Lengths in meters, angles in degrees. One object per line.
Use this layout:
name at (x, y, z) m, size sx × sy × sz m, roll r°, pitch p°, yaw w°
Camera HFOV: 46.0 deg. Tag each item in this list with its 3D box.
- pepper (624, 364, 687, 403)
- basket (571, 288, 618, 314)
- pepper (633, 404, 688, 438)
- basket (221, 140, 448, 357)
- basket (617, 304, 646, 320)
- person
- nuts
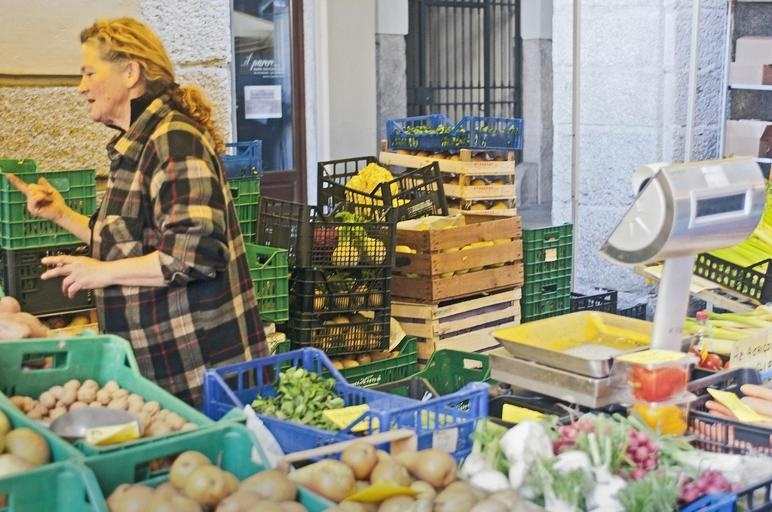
pepper at (1.144, 0.527, 3.812) m, size 0.246 × 0.154 × 0.075 m, roll -2°, pitch 9°, yaw 5°
basket at (1.581, 0.351, 6.867) m, size 0.293 × 0.119 × 0.285 m, roll -8°, pitch 8°, yaw -38°
pepper at (1.181, 0.699, 3.869) m, size 0.212 × 0.163 × 0.170 m, roll 14°, pitch -17°, yaw -41°
basket at (-0.391, -0.072, 6.307) m, size 1.136 × 1.093 × 1.762 m, roll -6°, pitch 9°, yaw -33°
basket at (1.892, 0.421, 6.910) m, size 0.233 × 0.133 × 0.225 m, roll -2°, pitch 0°, yaw -35°
person at (-1.104, -0.204, 4.423) m, size 0.811 × 2.081 × 0.756 m, roll -3°, pitch 4°, yaw -36°
nuts at (-1.158, 0.628, 3.660) m, size 0.725 × 0.167 × 0.420 m, roll 5°, pitch 12°, yaw 40°
